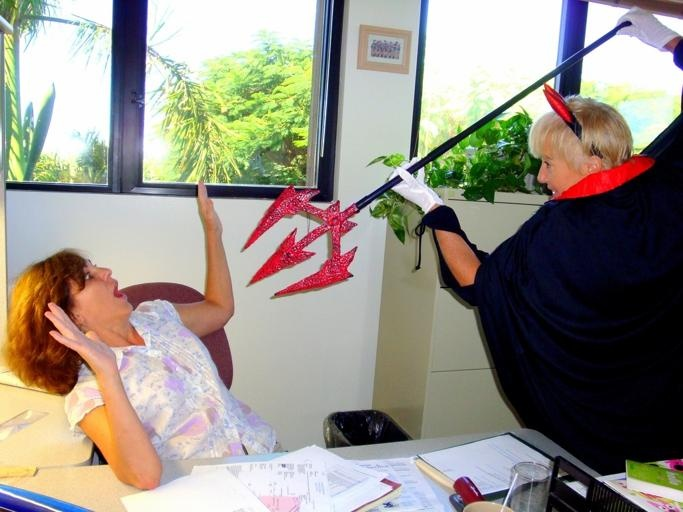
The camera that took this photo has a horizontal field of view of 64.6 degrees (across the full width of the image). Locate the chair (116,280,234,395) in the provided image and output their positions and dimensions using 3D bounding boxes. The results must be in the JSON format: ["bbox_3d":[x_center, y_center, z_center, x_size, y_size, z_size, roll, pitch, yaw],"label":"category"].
[{"bbox_3d":[-0.631,0.314,1.961,0.367,0.447,0.352,-9,-5,38],"label":"chair"}]

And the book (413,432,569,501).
[{"bbox_3d":[0.380,0.556,1.462,0.182,0.045,0.177,-5,7,-23],"label":"book"}]
